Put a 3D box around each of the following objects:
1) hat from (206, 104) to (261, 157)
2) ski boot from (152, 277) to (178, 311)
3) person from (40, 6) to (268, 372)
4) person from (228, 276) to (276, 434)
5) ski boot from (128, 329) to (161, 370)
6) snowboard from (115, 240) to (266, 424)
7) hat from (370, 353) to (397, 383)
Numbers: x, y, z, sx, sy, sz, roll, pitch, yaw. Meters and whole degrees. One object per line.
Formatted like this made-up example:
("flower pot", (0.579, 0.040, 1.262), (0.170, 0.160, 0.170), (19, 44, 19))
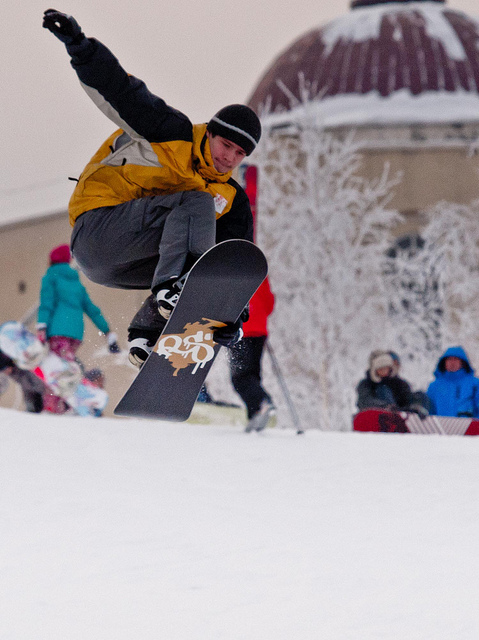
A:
("hat", (0.000, -0.950, 4.714), (0.249, 0.172, 0.250), (26, -1, 36))
("ski boot", (-0.345, -0.131, 4.436), (0.120, 0.130, 0.109), (10, -24, -10))
("person", (-0.409, -0.590, 4.556), (0.926, 1.096, 1.258), (5, -23, 2))
("person", (0.099, 0.269, 6.573), (0.288, 1.004, 0.162), (17, -14, -18))
("ski boot", (-0.483, 0.139, 4.805), (0.144, 0.187, 0.145), (-2, -6, -12))
("snowboard", (-0.311, 0.153, 4.867), (0.482, 0.185, 1.310), (15, -51, -25))
("hat", (0.988, 0.328, 6.645), (0.186, 0.188, 0.201), (-3, -1, 1))
